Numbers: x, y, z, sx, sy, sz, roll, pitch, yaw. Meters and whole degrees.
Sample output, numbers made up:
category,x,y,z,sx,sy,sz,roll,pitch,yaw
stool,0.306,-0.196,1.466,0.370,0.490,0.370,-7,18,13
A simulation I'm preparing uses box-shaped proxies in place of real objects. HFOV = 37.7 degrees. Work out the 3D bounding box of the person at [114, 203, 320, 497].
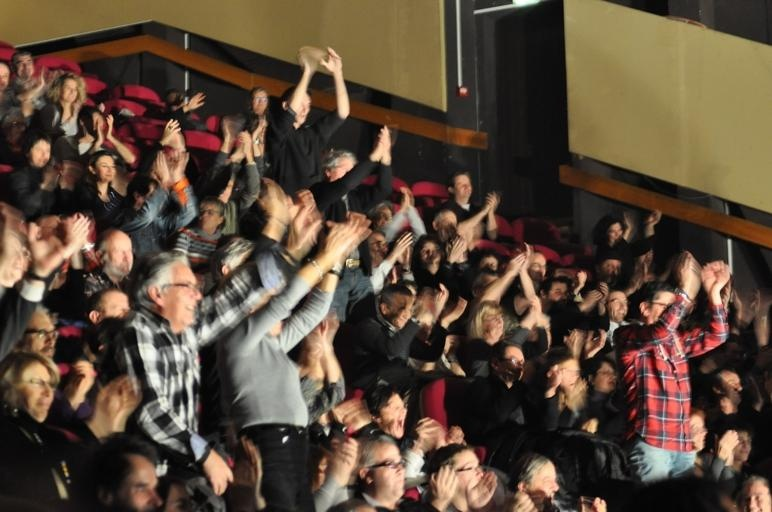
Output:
category,x,y,z,sx,sy,sz,roll,pitch,yaw
person,-0.630,0.277,3.883,0.575,1.037,0.178,5,-15,-8

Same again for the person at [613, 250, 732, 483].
category,x,y,z,sx,sy,sz,roll,pitch,yaw
person,1.227,0.437,4.737,0.495,1.031,0.238,9,-16,-20

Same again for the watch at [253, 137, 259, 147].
category,x,y,z,sx,sy,sz,roll,pitch,yaw
watch,-0.503,-0.442,4.357,0.019,0.025,0.010,6,-23,-3

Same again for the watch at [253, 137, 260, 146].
category,x,y,z,sx,sy,sz,roll,pitch,yaw
watch,-0.501,-0.442,4.357,0.023,0.024,0.011,4,-19,-28

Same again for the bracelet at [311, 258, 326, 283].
category,x,y,z,sx,sy,sz,roll,pitch,yaw
bracelet,-0.233,0.049,3.959,0.029,0.067,0.056,-38,7,-33
